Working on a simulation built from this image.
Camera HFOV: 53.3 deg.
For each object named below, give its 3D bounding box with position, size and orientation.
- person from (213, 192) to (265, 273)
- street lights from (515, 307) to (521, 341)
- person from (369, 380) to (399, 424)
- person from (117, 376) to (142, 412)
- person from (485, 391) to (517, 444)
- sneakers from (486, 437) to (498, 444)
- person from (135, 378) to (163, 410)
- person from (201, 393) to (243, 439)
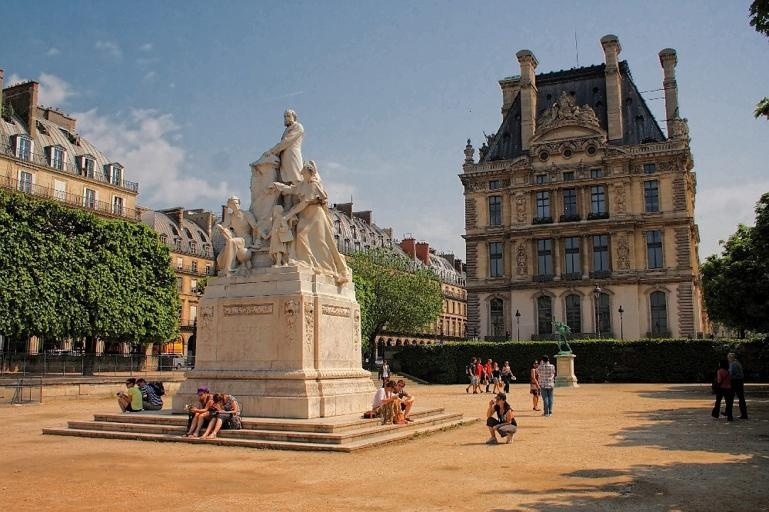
[{"bbox_3d":[-5.003,-0.662,26.596,1.242,2.759,0.796,1,-11,-6],"label":"person"},{"bbox_3d":[12.121,6.195,69.910,0.481,2.833,0.953,-3,-11,16],"label":"street lights"},{"bbox_3d":[0.054,4.771,25.110,0.922,1.383,0.497,0,-11,1],"label":"person"},{"bbox_3d":[-8.918,4.934,27.148,0.843,1.110,1.093,4,-11,-16],"label":"person"},{"bbox_3d":[3.721,5.157,24.444,0.870,1.545,1.198,-1,-11,7],"label":"person"},{"bbox_3d":[3.342,5.794,23.878,0.359,0.150,0.147,3,-13,-4],"label":"sneakers"},{"bbox_3d":[-8.550,4.980,27.735,1.280,1.122,0.891,-3,-3,-14],"label":"person"},{"bbox_3d":[-5.063,4.867,23.651,0.871,1.329,1.624,-6,-8,19],"label":"person"}]
